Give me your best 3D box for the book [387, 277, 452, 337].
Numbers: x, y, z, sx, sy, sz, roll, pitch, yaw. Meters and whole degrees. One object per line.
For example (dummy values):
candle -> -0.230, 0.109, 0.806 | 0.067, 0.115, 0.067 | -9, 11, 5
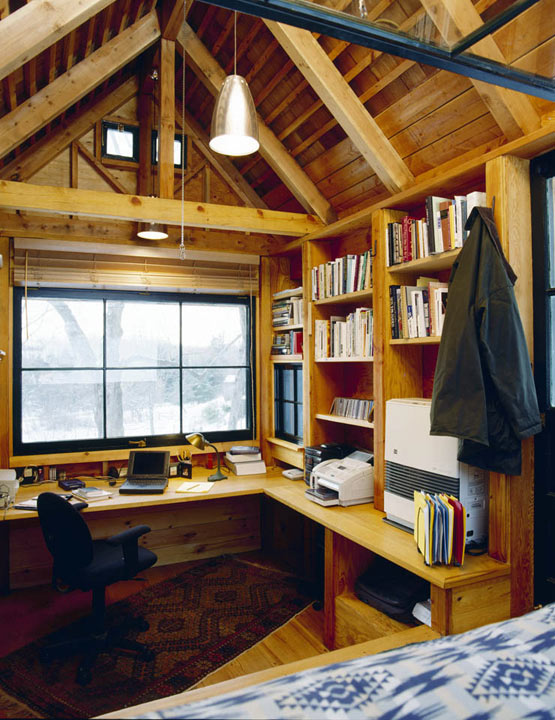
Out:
book -> 0.646, -0.230, 2.755 | 0.313, 0.289, 0.174 | 0, -2, -20

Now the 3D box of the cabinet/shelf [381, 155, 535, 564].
cabinet/shelf -> 0.708, 0.079, 2.434 | 0.298, 1.485, 0.685 | -2, 0, -15

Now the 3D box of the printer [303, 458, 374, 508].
printer -> 0.340, 0.620, 3.186 | 0.251, 0.161, 0.262 | 1, -2, -24

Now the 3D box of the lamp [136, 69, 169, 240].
lamp -> -0.795, -1.277, 3.760 | 0.191, 0.941, 0.576 | -2, 0, -12

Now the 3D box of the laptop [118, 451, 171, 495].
laptop -> -0.825, 0.700, 3.789 | 0.194, 0.146, 0.260 | 1, 5, -1

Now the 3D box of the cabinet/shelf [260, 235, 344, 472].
cabinet/shelf -> 0.105, -0.015, 4.533 | 0.235, 1.787, 0.750 | 6, -12, 17

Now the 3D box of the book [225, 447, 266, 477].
book -> -0.232, 0.687, 4.209 | 0.199, 0.096, 0.203 | 1, 4, -24
